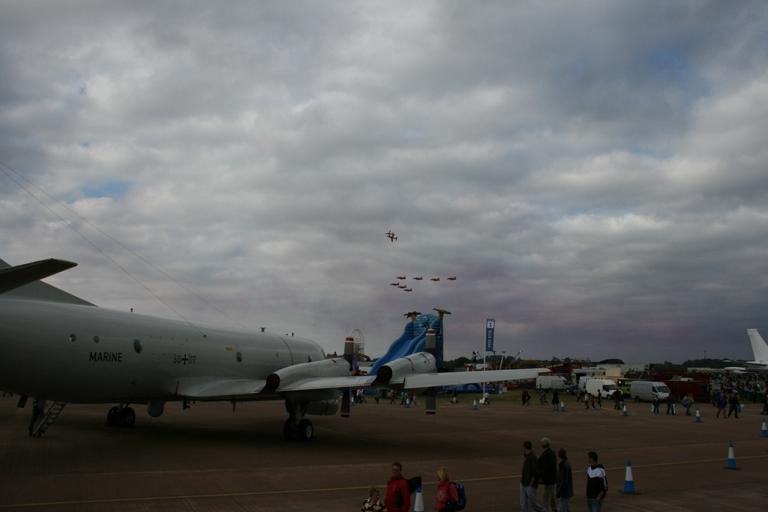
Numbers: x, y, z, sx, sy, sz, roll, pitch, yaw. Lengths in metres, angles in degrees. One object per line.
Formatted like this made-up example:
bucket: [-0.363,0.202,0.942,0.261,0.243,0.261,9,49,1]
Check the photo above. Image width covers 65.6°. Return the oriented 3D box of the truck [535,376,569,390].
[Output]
truck: [16.637,12.546,59.502,4.118,1.727,2.753,-2,-4,15]
